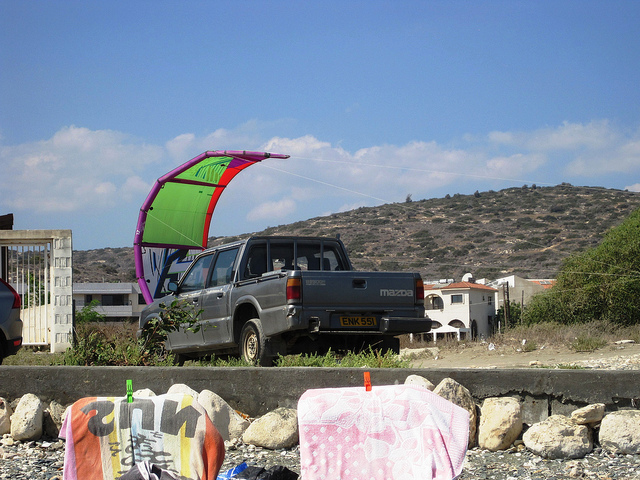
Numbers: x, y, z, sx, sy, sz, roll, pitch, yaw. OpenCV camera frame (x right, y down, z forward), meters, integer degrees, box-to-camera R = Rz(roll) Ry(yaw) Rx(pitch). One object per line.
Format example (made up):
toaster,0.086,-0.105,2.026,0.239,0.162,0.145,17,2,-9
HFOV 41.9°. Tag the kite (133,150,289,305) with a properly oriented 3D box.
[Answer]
kite,-2.871,-0.245,20.984,3.613,3.795,2.225,-19,8,-10

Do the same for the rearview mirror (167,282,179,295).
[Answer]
rearview mirror,-2.575,0.864,14.818,0.189,0.128,0.202,5,5,37

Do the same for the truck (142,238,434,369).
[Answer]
truck,-0.855,0.858,13.586,2.220,1.492,4.099,3,-2,-34

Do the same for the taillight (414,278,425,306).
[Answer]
taillight,1.511,0.781,12.597,0.099,0.419,0.214,-5,-5,32
